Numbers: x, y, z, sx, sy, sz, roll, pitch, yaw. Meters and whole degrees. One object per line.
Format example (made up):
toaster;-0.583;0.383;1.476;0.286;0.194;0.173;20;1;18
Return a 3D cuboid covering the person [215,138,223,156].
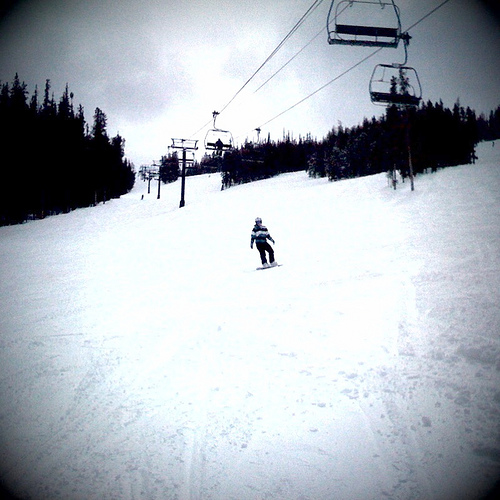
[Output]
person;-1.444;-4.853;23.533;0.337;0.720;1.178;-5;12;-3

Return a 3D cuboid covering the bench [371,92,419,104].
bench;4.329;-4.507;14.872;1.376;0.415;0.636;-4;12;10

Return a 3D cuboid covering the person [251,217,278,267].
person;0.400;-0.254;14.838;0.735;1.370;1.712;-4;12;0

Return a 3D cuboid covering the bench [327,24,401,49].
bench;2.820;-5.216;12.238;1.758;0.576;0.558;-11;13;-20
